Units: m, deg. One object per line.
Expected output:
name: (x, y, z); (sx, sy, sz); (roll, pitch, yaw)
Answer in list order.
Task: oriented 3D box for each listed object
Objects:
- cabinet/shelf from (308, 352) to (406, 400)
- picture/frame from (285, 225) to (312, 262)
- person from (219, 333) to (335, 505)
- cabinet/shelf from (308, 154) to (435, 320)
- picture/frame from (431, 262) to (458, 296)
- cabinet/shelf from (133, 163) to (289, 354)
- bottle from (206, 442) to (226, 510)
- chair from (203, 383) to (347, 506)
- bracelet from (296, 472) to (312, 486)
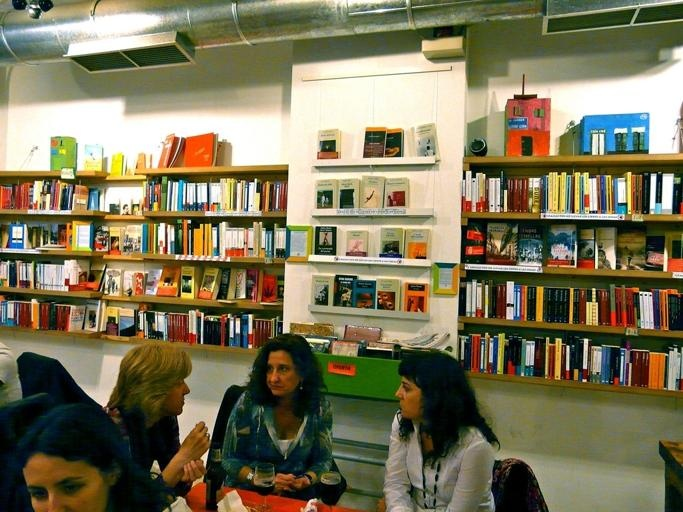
cabinet/shelf: (0.132, 0.897, 4.498); (0.521, 0.223, 0.376); (1, -7, 20)
picture/frame: (-0.356, -0.103, 5.096); (0.305, 0.379, 0.026); (0, -3, 15)
person: (-0.395, 1.056, 3.803); (0.696, 1.047, 0.684); (0, 11, -6)
cabinet/shelf: (0.286, -0.145, 4.939); (1.343, 1.261, 0.403); (1, -1, 15)
picture/frame: (0.839, 0.182, 4.826); (0.259, 0.308, 0.021); (1, -1, 9)
cabinet/shelf: (-1.138, 0.012, 5.448); (1.756, 1.644, 0.524); (0, -3, 18)
bottle: (-0.700, 1.205, 3.325); (0.105, 0.350, 0.159); (1, -1, -11)
chair: (-0.418, 1.125, 3.777); (0.762, 1.028, 0.830); (6, -21, -15)
bracelet: (-0.232, 1.362, 3.667); (0.066, 0.029, 0.049); (3, 0, -38)
